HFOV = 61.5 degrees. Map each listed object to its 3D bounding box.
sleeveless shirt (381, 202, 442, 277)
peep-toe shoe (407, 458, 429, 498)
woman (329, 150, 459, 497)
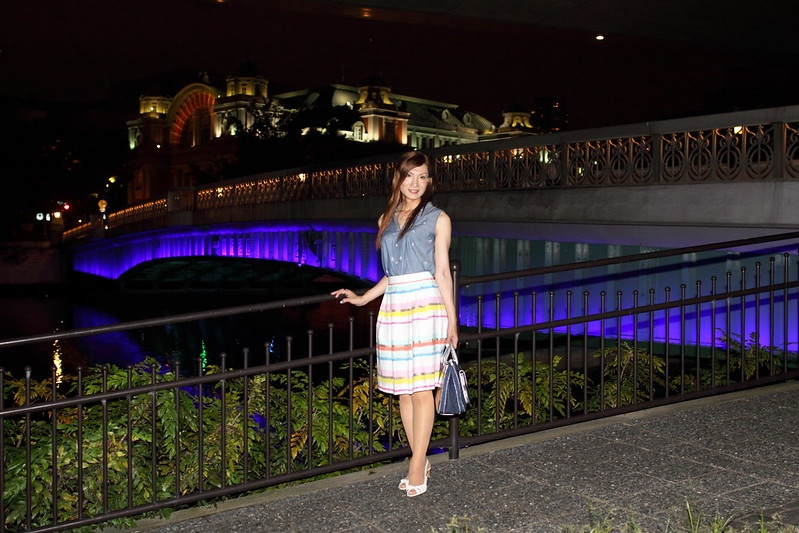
[{"bbox_3d":[0.107,-0.199,5.197,0.557,0.628,0.374,-4,-5,44],"label":"sleeveless shirt"},{"bbox_3d":[0.161,1.737,5.364,0.110,0.129,0.313,-4,-10,17],"label":"peep-toe shoe"},{"bbox_3d":[0.079,0.435,5.309,0.740,2.641,0.627,1,9,11],"label":"woman"}]
